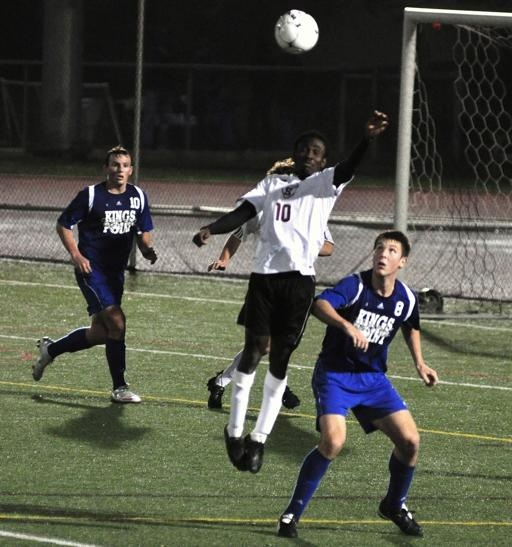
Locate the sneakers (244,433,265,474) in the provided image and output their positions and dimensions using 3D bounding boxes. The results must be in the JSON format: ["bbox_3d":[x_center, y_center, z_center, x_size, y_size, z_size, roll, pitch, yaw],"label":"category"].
[{"bbox_3d":[-0.002,0.813,4.135,0.089,0.100,0.243,5,44,-13],"label":"sneakers"}]

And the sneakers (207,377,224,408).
[{"bbox_3d":[-0.236,0.714,5.398,0.113,0.145,0.307,-6,-21,-4],"label":"sneakers"}]

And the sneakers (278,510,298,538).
[{"bbox_3d":[0.128,0.984,3.555,0.076,0.097,0.146,2,7,3],"label":"sneakers"}]

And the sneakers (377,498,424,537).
[{"bbox_3d":[0.588,0.993,3.681,0.221,0.089,0.076,30,28,33],"label":"sneakers"}]

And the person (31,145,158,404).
[{"bbox_3d":[-0.965,-0.006,5.496,0.682,1.536,0.496,1,7,-10],"label":"person"}]

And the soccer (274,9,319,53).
[{"bbox_3d":[0.475,-2.864,10.884,0.522,0.522,0.527,1,-3,12],"label":"soccer"}]

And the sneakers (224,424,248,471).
[{"bbox_3d":[-0.095,0.802,4.148,0.070,0.204,0.085,-12,-17,-7],"label":"sneakers"}]

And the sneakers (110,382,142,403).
[{"bbox_3d":[-0.788,0.731,5.452,0.176,0.099,0.086,2,0,5],"label":"sneakers"}]

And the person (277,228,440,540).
[{"bbox_3d":[0.463,0.431,3.757,0.575,1.199,0.784,3,7,11],"label":"person"}]

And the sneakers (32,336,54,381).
[{"bbox_3d":[-1.352,0.538,5.728,0.112,0.315,0.139,-1,10,-44],"label":"sneakers"}]
